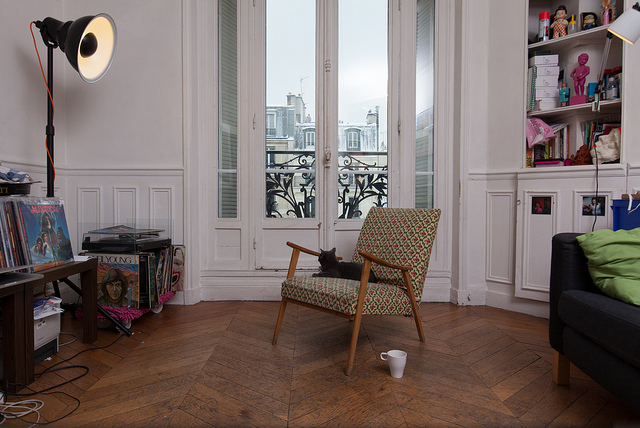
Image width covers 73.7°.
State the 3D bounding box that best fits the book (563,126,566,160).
[{"bbox_3d":[2.206,-0.633,3.834,0.030,0.291,0.083,0,6,30],"label":"book"}]

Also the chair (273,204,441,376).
[{"bbox_3d":[0.302,0.484,3.337,1.073,1.041,0.868,-1,3,-42],"label":"chair"}]

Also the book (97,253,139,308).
[{"bbox_3d":[-1.649,0.532,3.509,0.443,0.540,0.046,2,-1,1],"label":"book"}]

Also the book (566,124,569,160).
[{"bbox_3d":[2.228,-0.650,3.834,0.022,0.303,0.097,0,6,31],"label":"book"}]

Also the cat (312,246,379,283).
[{"bbox_3d":[0.223,0.429,3.476,0.514,0.230,0.163,8,17,27],"label":"cat"}]

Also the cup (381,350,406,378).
[{"bbox_3d":[0.501,1.031,2.928,0.198,0.141,0.138,-3,-4,35],"label":"cup"}]

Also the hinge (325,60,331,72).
[{"bbox_3d":[0.084,-1.456,4.210,0.084,0.115,0.027,2,-3,1],"label":"hinge"}]

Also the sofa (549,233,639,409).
[{"bbox_3d":[1.705,0.638,2.593,0.280,0.975,0.633,-4,6,-14],"label":"sofa"}]

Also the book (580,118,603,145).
[{"bbox_3d":[2.356,-0.748,3.729,0.162,0.147,0.037,2,6,4],"label":"book"}]

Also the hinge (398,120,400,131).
[{"bbox_3d":[0.784,-0.877,4.231,0.014,0.098,0.007,0,6,28],"label":"hinge"}]

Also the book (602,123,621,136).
[{"bbox_3d":[2.474,-0.714,3.658,0.178,0.095,0.117,-3,5,-21],"label":"book"}]
